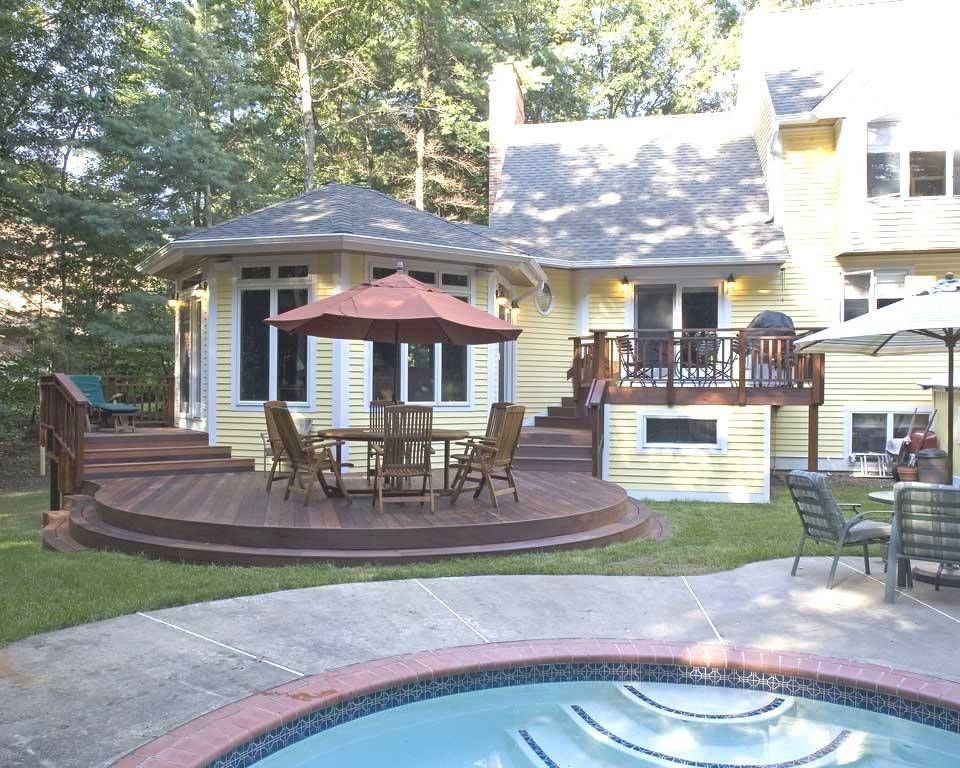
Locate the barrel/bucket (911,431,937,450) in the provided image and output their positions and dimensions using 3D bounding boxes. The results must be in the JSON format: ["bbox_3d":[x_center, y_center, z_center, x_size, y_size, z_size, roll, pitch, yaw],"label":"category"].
[{"bbox_3d":[8.331,1.052,18.112,0.495,0.422,0.494,-3,-1,0],"label":"barrel/bucket"}]

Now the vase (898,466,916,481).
[{"bbox_3d":[7.610,1.578,17.204,0.280,0.183,0.260,0,-8,-1],"label":"vase"}]

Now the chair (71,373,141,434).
[{"bbox_3d":[-7.519,0.333,19.221,1.596,0.945,0.799,4,9,43],"label":"chair"}]
